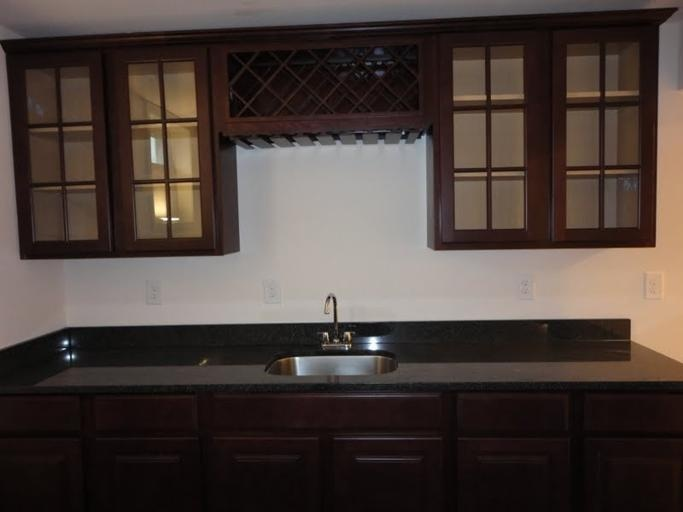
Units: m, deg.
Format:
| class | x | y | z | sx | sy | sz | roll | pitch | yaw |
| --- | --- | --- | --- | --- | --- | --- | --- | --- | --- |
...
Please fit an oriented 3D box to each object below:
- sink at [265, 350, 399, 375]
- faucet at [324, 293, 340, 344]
| class | x | y | z | sx | sy | sz | roll | pitch | yaw |
| --- | --- | --- | --- | --- | --- | --- | --- | --- | --- |
| sink | -0.051 | 0.596 | 3.873 | 0.683 | 0.139 | 0.166 | 0 | 3 | 1 |
| faucet | -0.053 | 0.349 | 3.988 | 0.096 | 0.273 | 0.257 | 0 | 2 | -2 |
